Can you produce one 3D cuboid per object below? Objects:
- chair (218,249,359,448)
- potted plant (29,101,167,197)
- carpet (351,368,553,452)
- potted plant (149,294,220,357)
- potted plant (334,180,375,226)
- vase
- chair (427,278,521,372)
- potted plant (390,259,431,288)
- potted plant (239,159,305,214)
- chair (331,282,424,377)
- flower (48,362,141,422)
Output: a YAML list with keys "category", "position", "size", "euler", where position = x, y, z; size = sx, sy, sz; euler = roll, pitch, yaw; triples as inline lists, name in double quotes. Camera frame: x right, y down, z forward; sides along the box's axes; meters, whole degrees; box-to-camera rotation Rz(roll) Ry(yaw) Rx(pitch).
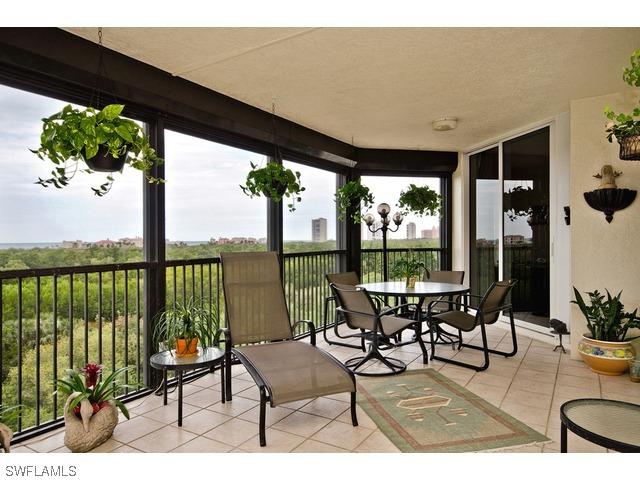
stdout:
- category: "chair"
  position: [-0.439, 0.920, 4.290]
  size: [0.919, 1.171, 1.794]
  euler: [1, 8, -27]
- category: "potted plant"
  position: [-1.676, -0.681, 3.350]
  size: [0.910, 0.470, 0.859]
  euler: [-3, -6, 30]
- category: "carpet"
  position: [1.021, 1.564, 4.148]
  size: [1.229, 0.078, 1.576]
  euler: [-2, 5, -19]
- category: "potted plant"
  position: [-1.281, 0.806, 4.320]
  size: [0.559, 0.413, 0.606]
  euler: [1, -2, 5]
- category: "potted plant"
  position: [0.495, -0.550, 6.501]
  size: [0.693, 0.624, 0.660]
  euler: [-2, -1, 3]
- category: "vase"
  position: [-1.816, 1.453, 3.645]
  size: [0.385, 0.217, 0.472]
  euler: [6, 23, -1]
- category: "chair"
  position: [1.827, 0.971, 5.477]
  size: [0.937, 0.934, 0.822]
  euler: [-1, 1, 37]
- category: "potted plant"
  position: [1.197, 0.442, 5.877]
  size: [0.410, 0.389, 0.424]
  euler: [2, -5, -16]
- category: "potted plant"
  position: [-0.614, -0.555, 5.200]
  size: [0.681, 0.411, 0.664]
  euler: [-1, 3, -36]
- category: "chair"
  position: [0.658, 0.977, 5.148]
  size: [1.115, 0.899, 0.793]
  euler: [2, -2, -29]
- category: "flower"
  position: [-1.860, 1.215, 3.648]
  size: [0.651, 0.328, 0.519]
  euler: [12, 2, 9]
